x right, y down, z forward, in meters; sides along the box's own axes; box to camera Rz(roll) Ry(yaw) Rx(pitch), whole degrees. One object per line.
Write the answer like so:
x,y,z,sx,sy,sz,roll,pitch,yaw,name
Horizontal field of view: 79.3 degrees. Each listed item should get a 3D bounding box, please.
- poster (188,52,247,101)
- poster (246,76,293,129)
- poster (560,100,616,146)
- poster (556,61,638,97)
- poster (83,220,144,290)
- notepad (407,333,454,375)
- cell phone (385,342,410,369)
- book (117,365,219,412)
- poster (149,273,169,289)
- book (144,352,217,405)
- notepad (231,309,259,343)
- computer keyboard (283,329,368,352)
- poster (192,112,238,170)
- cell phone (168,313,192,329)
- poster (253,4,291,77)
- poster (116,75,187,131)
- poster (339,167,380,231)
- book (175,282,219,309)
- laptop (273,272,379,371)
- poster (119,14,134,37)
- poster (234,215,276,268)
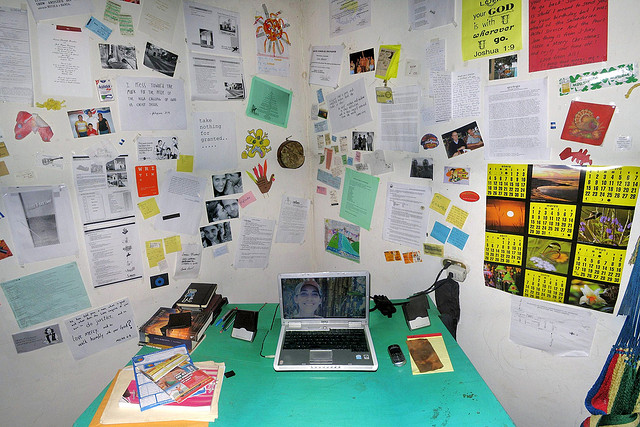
-0.627,-0.830,2.361,0.341,0.271,0.011,-4,7,-28,poster
-0.320,-0.727,2.497,0.254,0.295,0.128,-3,18,-39,poster
1.272,-0.423,1.850,0.187,0.203,0.051,20,17,37,poster
1.293,-0.633,1.809,0.310,0.120,0.009,2,7,26,poster
-1.199,0.222,2.206,0.357,0.477,0.026,-7,13,-23,poster
0.568,0.729,2.022,0.207,0.116,0.236,-1,5,4,notepad
0.395,0.732,2.008,0.072,0.030,0.133,-11,28,-1,cell phone
-0.725,0.850,1.890,0.433,0.116,0.223,-1,5,2,book
-0.984,0.403,2.340,0.092,0.069,0.013,-10,11,-35,poster
-0.726,0.806,1.935,0.288,0.021,0.189,24,29,29,book
-0.430,0.633,2.202,0.139,0.157,0.103,1,6,18,notepad
0.027,0.689,2.096,0.449,0.066,0.133,-1,5,3,computer keyboard
-0.653,-0.455,2.395,0.256,0.339,0.047,-3,6,-20,poster
-0.790,0.600,2.170,0.078,0.021,0.085,-3,21,-22,cell phone
-0.310,-1.115,2.491,0.230,0.426,0.016,-4,7,-30,poster
-0.970,-0.625,2.216,0.389,0.331,0.029,-2,-2,-12,poster
0.243,-0.101,2.551,0.271,0.379,0.004,25,28,38,poster
-0.748,0.495,2.337,0.196,0.121,0.175,0,6,9,book
0.020,0.547,2.018,0.511,0.328,0.402,-1,19,-1,laptop
-1.063,-1.036,2.116,0.069,0.121,0.007,-4,7,-29,poster
-0.441,0.197,2.610,0.267,0.365,0.008,7,2,-40,poster
